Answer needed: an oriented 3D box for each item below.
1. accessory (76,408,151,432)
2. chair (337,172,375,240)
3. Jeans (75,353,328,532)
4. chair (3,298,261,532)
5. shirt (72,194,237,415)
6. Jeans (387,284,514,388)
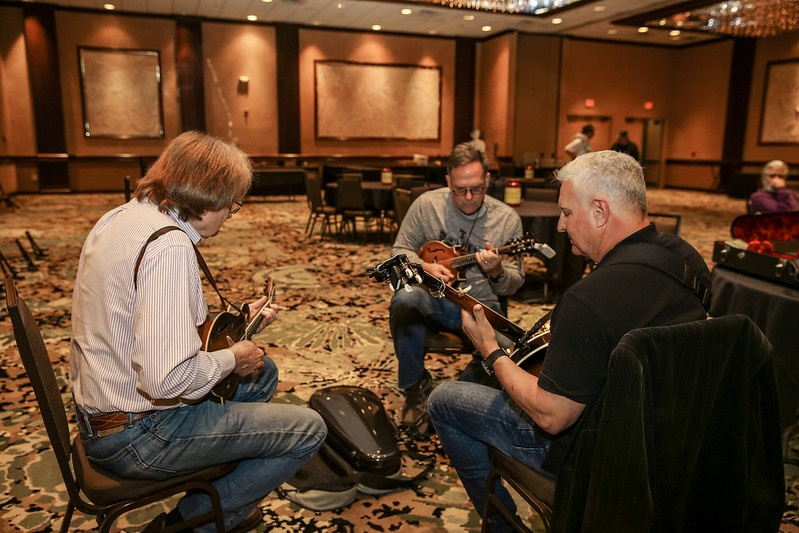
[{"bbox_3d":[-1.021,0.533,2.038,0.126,0.040,0.115,-2,4,-21],"label":"accessory"},{"bbox_3d":[-0.631,-0.831,8.148,0.514,0.887,0.932,-1,14,-3],"label":"chair"},{"bbox_3d":[-0.684,0.670,2.148,0.628,0.180,0.574,18,14,-27],"label":"Jeans"},{"bbox_3d":[-1.074,0.479,2.613,0.939,1.272,0.711,-4,9,-25],"label":"chair"},{"bbox_3d":[-0.904,0.142,2.051,0.562,0.720,0.375,8,16,28],"label":"shirt"},{"bbox_3d":[0.218,0.421,3.510,0.608,0.719,0.590,2,-7,-10],"label":"Jeans"}]
